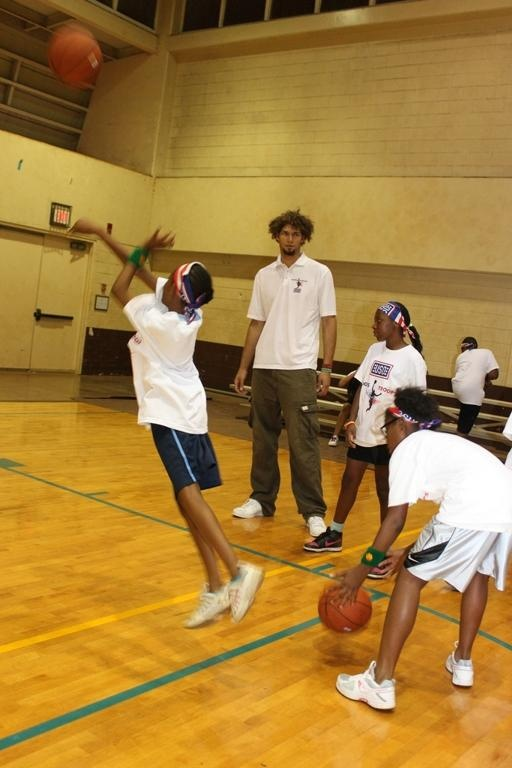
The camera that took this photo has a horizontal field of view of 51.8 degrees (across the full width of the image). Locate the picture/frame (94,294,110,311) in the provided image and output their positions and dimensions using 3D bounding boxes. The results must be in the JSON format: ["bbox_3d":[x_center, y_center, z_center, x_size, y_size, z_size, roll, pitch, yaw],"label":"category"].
[{"bbox_3d":[-3.233,-1.724,11.028,0.050,0.340,0.378,13,9,39],"label":"picture/frame"}]

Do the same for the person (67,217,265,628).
[{"bbox_3d":[-0.286,0.129,1.846,0.755,1.357,0.291,7,-6,2],"label":"person"}]

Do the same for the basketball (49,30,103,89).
[{"bbox_3d":[-1.791,-3.285,5.212,0.485,0.433,0.301,10,-7,-24],"label":"basketball"}]

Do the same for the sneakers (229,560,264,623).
[{"bbox_3d":[-0.028,0.680,1.685,0.097,0.202,0.075,14,27,0],"label":"sneakers"}]

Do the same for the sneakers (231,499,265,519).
[{"bbox_3d":[-0.054,0.842,3.528,0.218,0.097,0.101,6,-6,-42],"label":"sneakers"}]

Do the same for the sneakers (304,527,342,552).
[{"bbox_3d":[0.389,0.905,3.057,0.268,0.147,0.099,2,2,-8],"label":"sneakers"}]

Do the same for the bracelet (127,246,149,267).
[{"bbox_3d":[-0.412,-0.445,1.852,0.065,0.085,0.025,33,-46,-26],"label":"bracelet"}]

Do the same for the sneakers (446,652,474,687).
[{"bbox_3d":[0.647,0.905,1.696,0.052,0.055,0.129,-1,17,0],"label":"sneakers"}]

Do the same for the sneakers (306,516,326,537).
[{"bbox_3d":[0.370,0.874,3.213,0.075,0.063,0.159,-1,5,-11],"label":"sneakers"}]
